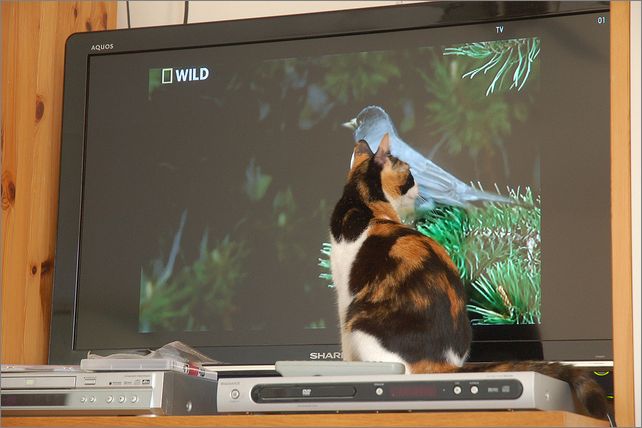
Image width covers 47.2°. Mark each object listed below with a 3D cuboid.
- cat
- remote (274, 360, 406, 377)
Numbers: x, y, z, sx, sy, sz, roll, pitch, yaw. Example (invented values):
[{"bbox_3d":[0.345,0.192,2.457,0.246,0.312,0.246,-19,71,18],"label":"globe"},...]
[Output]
[{"bbox_3d":[0.230,0.102,2.150,0.421,0.702,0.150,1,0,9],"label":"cat"},{"bbox_3d":[0.044,0.406,1.890,0.333,0.043,0.074,1,0,10],"label":"remote"}]
